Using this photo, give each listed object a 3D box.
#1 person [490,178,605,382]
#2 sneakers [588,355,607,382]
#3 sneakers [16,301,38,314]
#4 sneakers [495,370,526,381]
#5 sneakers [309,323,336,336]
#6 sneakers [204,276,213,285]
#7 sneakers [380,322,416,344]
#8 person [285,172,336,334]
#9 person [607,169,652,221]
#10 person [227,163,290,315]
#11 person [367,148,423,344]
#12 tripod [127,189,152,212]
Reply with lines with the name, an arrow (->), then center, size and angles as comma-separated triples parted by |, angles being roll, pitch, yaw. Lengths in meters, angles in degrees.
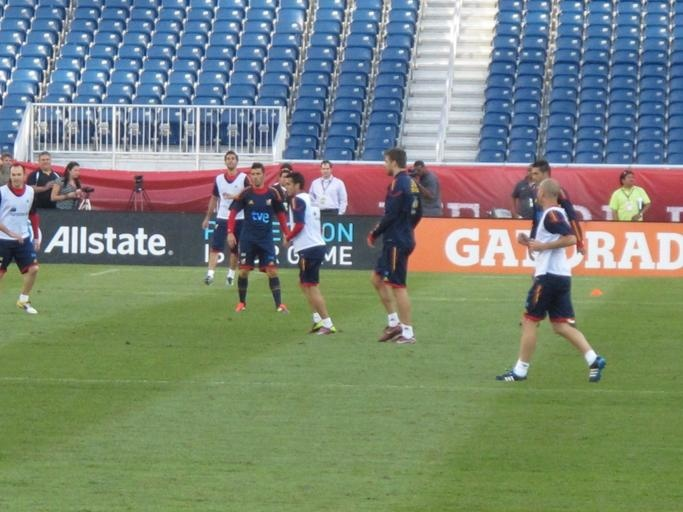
person -> 3.013, 0.320, 20.564 | 1.421, 2.827, 0.935 | 1, 8, 9
sneakers -> 3.606, 1.570, 20.310 | 0.240, 0.144, 0.434 | -5, -34, 0
sneakers -> -5.167, 0.837, 23.791 | 0.424, 0.158, 0.152 | 21, 12, 22
sneakers -> 2.395, 1.665, 20.424 | 0.506, 0.166, 0.153 | 2, 1, 4
sneakers -> -0.296, 1.150, 22.596 | 0.468, 0.176, 0.147 | 2, 2, 6
sneakers -> -2.461, 0.441, 26.792 | 0.196, 0.116, 0.301 | 0, 2, -1
sneakers -> 0.876, 1.173, 22.129 | 0.670, 0.243, 0.230 | -1, -1, 23
person -> -0.478, -0.063, 22.677 | 0.776, 2.511, 0.739 | 0, 8, -3
person -> 6.007, -1.260, 30.043 | 0.785, 1.085, 1.261 | 1, 7, 7
person -> -1.398, -0.314, 24.204 | 0.992, 2.484, 1.278 | 0, 7, -5
person -> 0.830, -0.188, 22.196 | 0.762, 2.954, 0.982 | 1, 8, 2
tripod -> -4.529, -1.273, 32.005 | 0.564, 0.595, 0.518 | 1, -2, 10
